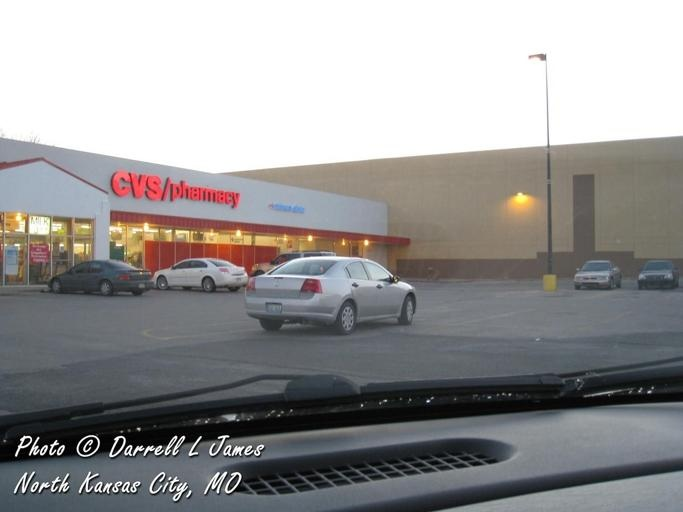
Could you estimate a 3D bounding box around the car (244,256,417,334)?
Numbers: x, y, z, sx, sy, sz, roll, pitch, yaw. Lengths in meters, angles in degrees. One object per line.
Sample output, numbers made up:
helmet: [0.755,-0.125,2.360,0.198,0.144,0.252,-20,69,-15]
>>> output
car: [-0.012,0.776,14.009,1.617,1.238,3.561,-1,0,37]

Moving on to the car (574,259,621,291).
car: [14.830,1.134,35.412,1.556,1.183,3.482,-4,-6,29]

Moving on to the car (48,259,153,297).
car: [-10.267,0.937,26.226,3.763,1.246,1.707,3,0,22]

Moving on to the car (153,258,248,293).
car: [-7.015,0.970,30.279,4.315,1.600,0.916,-1,-3,20]
